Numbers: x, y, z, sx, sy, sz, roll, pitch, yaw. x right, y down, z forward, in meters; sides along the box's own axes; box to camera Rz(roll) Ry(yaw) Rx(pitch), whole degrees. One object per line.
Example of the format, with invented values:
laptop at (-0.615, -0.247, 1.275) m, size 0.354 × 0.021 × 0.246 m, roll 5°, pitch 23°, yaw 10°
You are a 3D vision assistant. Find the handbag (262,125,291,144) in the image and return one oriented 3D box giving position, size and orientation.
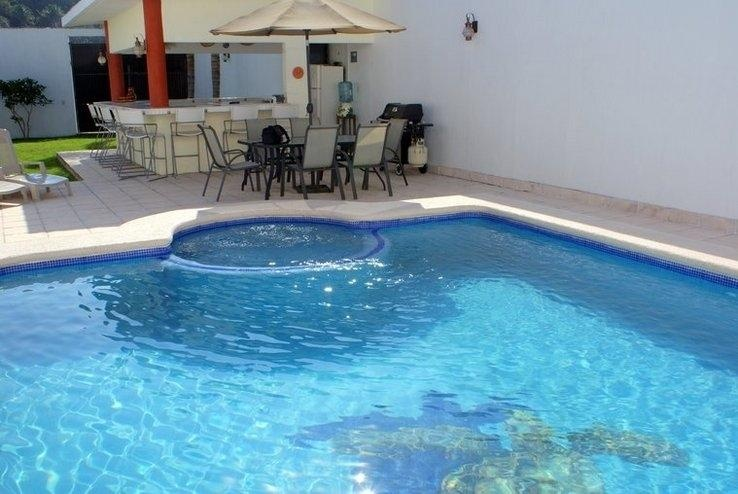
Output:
handbag at (-1.577, -1.976, 8.138) m, size 0.524 × 0.339 × 0.374 m, roll -8°, pitch 16°, yaw -36°

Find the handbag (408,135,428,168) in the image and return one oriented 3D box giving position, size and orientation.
handbag at (1.067, -2.143, 10.374) m, size 0.449 × 0.560 × 0.446 m, roll 12°, pitch 25°, yaw 25°

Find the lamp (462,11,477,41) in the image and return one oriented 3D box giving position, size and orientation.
lamp at (1.971, -4.419, 9.260) m, size 0.225 × 0.498 × 0.394 m, roll -6°, pitch 22°, yaw -21°
